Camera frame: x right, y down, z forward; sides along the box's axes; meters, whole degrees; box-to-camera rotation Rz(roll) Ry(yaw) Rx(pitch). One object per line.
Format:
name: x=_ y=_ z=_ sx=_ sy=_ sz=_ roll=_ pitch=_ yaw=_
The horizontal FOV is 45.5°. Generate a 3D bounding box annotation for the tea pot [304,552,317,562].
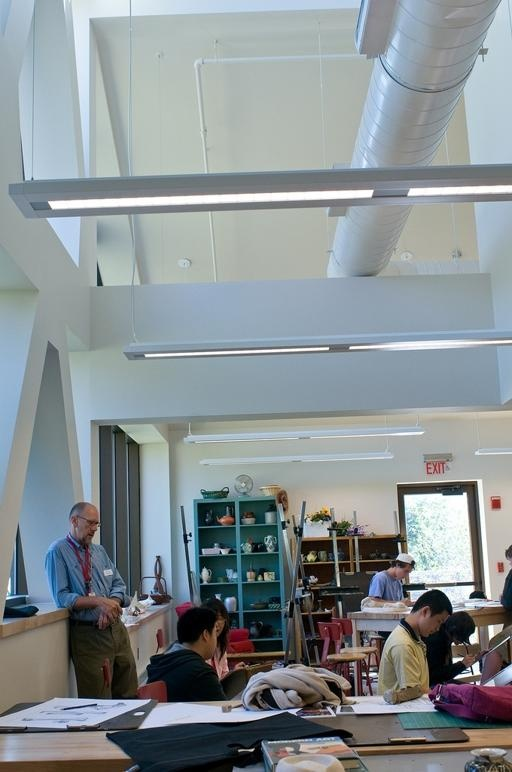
tea pot: x=0.853 y=2.632 z=9.456 sx=0.191 sy=0.193 sz=0.129 roll=-2 pitch=-10 yaw=3

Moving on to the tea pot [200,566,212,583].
tea pot: x=-0.723 y=2.834 z=9.146 sx=0.098 sy=0.219 sz=0.297 roll=-8 pitch=-14 yaw=22

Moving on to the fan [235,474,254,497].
fan: x=-0.186 y=1.595 z=9.779 sx=0.357 sy=0.415 sz=0.255 roll=0 pitch=-16 yaw=-3

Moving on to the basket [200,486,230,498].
basket: x=-0.627 y=1.658 z=9.481 sx=0.468 sy=0.193 sz=0.385 roll=-3 pitch=-13 yaw=-6

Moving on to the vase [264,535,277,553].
vase: x=0.203 y=2.384 z=9.280 sx=0.240 sy=0.301 sz=0.184 roll=2 pitch=-24 yaw=-2

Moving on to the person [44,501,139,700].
person: x=-0.987 y=1.309 z=3.702 sx=0.464 sy=1.160 sz=0.603 roll=-2 pitch=-12 yaw=-4

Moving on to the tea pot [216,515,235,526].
tea pot: x=-0.461 y=2.035 z=9.242 sx=0.279 sy=0.151 sz=0.185 roll=-5 pitch=-13 yaw=3

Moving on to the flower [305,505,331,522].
flower: x=0.981 y=2.004 z=9.492 sx=0.397 sy=0.230 sz=0.305 roll=-5 pitch=-13 yaw=3

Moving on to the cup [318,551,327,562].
cup: x=1.043 y=2.629 z=9.460 sx=0.136 sy=0.148 sz=0.097 roll=-1 pitch=-8 yaw=34
